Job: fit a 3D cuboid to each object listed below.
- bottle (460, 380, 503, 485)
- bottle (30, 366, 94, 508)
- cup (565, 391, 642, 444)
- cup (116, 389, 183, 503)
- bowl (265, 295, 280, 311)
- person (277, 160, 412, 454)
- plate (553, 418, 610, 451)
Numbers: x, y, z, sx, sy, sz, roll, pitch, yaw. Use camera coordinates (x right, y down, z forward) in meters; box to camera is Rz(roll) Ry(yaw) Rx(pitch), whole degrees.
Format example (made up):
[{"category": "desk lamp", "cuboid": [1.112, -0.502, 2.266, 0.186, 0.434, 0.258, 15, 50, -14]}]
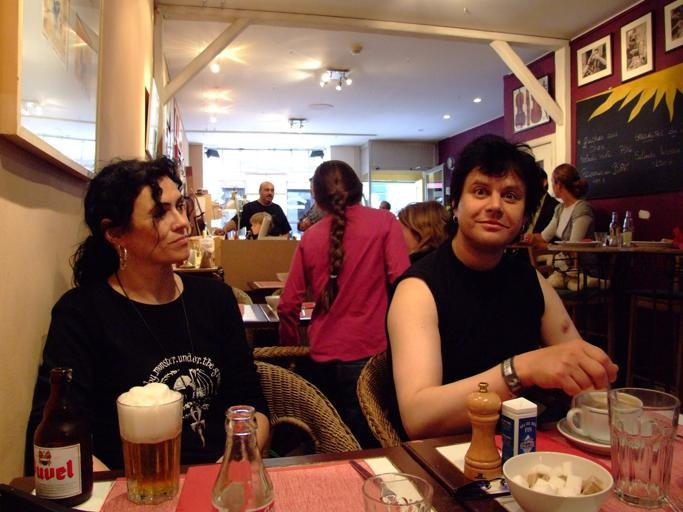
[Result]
[{"category": "bottle", "cuboid": [0.319, 0.379, 1.162, 0.080, 0.199, 0.140, 0, 8, 17]}, {"category": "bottle", "cuboid": [-0.590, 0.375, 1.079, 0.111, 0.266, 0.126, -10, 10, -42]}, {"category": "cup", "cuboid": [0.626, 0.368, 1.251, 0.131, 0.077, 0.111, -10, 11, -12]}, {"category": "cup", "cuboid": [-0.401, 0.390, 1.102, 0.129, 0.222, 0.133, -3, 8, 0]}, {"category": "bowl", "cuboid": [-0.417, 0.276, 3.104, 0.093, 0.073, 0.096, 0, -4, 0]}, {"category": "person", "cuboid": [0.004, 0.422, 2.848, 0.727, 1.886, 0.695, 5, 16, 21]}, {"category": "plate", "cuboid": [0.592, 0.436, 1.257, 0.099, 0.021, 0.098, 0, 1, -32]}]
